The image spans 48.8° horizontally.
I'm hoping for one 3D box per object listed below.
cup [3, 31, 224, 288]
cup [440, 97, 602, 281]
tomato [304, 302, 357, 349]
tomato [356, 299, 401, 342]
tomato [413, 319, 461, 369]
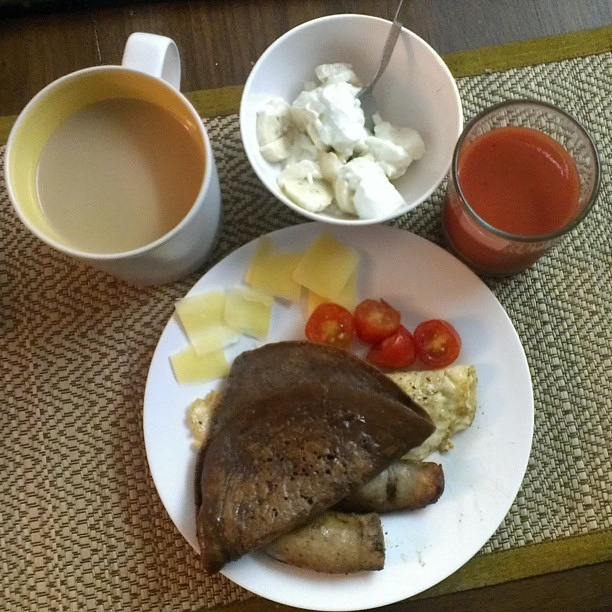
[{"bbox_3d":[-0.342,-0.286,1.417,0.373,0.368,0.533,24,88,-7],"label":"cup"},{"bbox_3d":[0.399,-0.242,1.465,0.292,0.367,0.379,7,98,11],"label":"cup"},{"bbox_3d":[0.067,0.019,1.495,0.106,0.111,0.059,-17,109,19],"label":"tomato"},{"bbox_3d":[0.163,0.011,1.472,0.084,0.097,0.034,30,41,-2],"label":"tomato"},{"bbox_3d":[0.285,0.087,1.499,0.091,0.095,0.034,39,98,16],"label":"tomato"}]
